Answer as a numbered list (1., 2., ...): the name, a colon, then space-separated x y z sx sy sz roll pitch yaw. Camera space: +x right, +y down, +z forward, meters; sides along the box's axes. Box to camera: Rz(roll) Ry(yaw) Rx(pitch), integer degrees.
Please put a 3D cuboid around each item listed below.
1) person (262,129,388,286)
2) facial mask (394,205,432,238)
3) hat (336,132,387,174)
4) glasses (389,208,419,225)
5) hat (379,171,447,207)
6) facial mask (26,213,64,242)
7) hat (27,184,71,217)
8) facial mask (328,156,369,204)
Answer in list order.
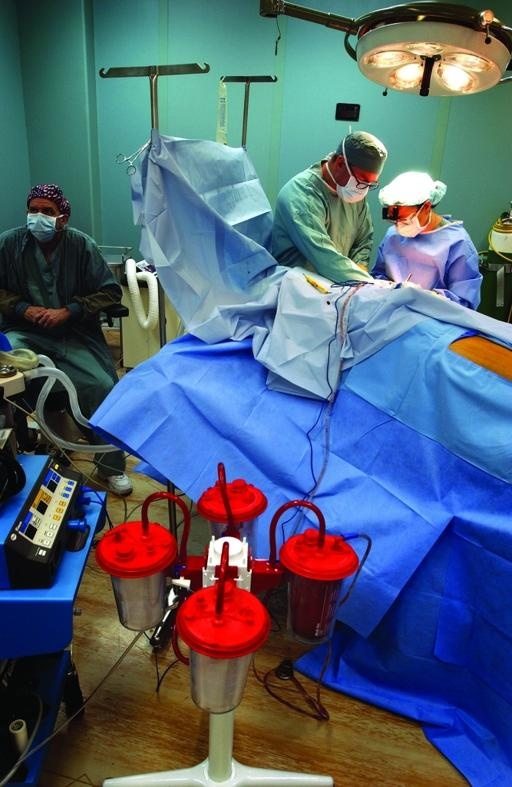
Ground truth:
1. person: 0.266 -0.705 2.279 0.382 0.510 0.744 6 22 8
2. facial mask: 0.630 -0.690 2.444 0.106 0.129 0.100 9 -21 24
3. hat: 0.367 -0.826 2.126 0.133 0.155 0.088 11 -3 -19
4. glasses: 0.582 -0.702 2.390 0.102 0.065 0.060 4 21 4
5. hat: 0.644 -0.810 2.460 0.199 0.106 0.256 8 24 27
6. facial mask: -0.854 -0.656 2.415 0.096 0.087 0.107 5 37 -2
7. hat: -0.826 -0.781 2.454 0.135 0.165 0.085 3 19 -2
8. facial mask: 0.354 -0.771 2.242 0.146 0.109 0.124 44 21 -4
